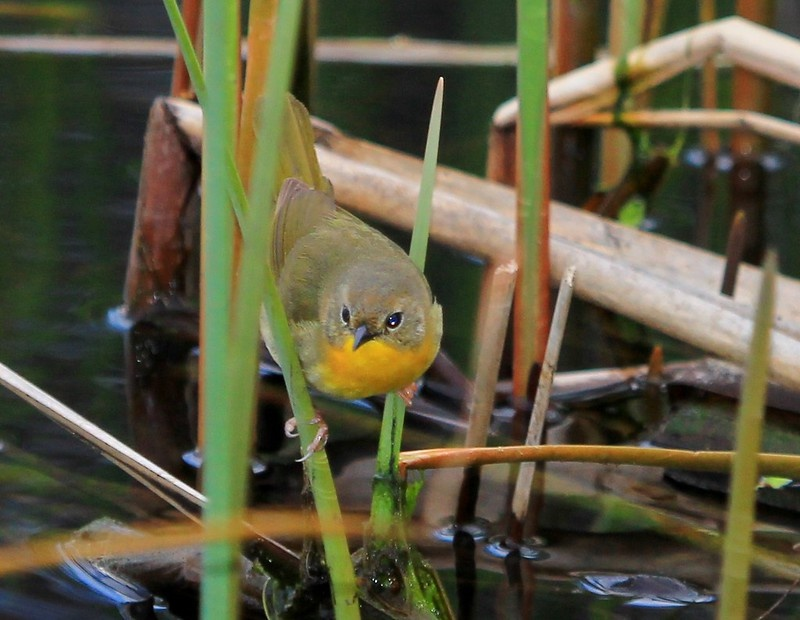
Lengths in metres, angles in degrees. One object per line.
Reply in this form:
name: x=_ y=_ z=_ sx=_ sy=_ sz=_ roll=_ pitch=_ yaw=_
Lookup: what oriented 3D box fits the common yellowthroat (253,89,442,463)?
common yellowthroat: x=-0.228 y=-0.094 z=3.863 sx=0.776 sy=0.769 sz=0.455 roll=3 pitch=5 yaw=40
